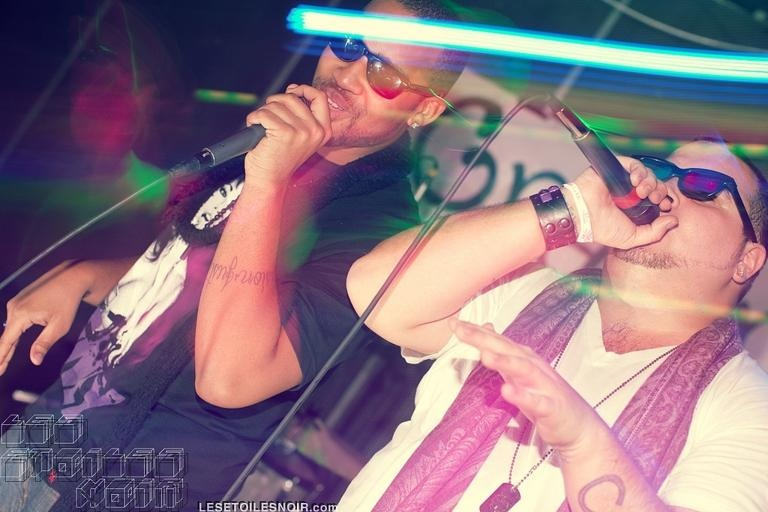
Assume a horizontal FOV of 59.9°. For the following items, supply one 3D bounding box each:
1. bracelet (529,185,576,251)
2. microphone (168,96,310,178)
[{"bbox_3d":[0.533,-0.125,2.155,0.121,0.200,0.206,-17,40,3],"label":"bracelet"},{"bbox_3d":[-0.437,-0.396,2.130,0.633,0.092,0.094,-32,88,-31],"label":"microphone"}]
